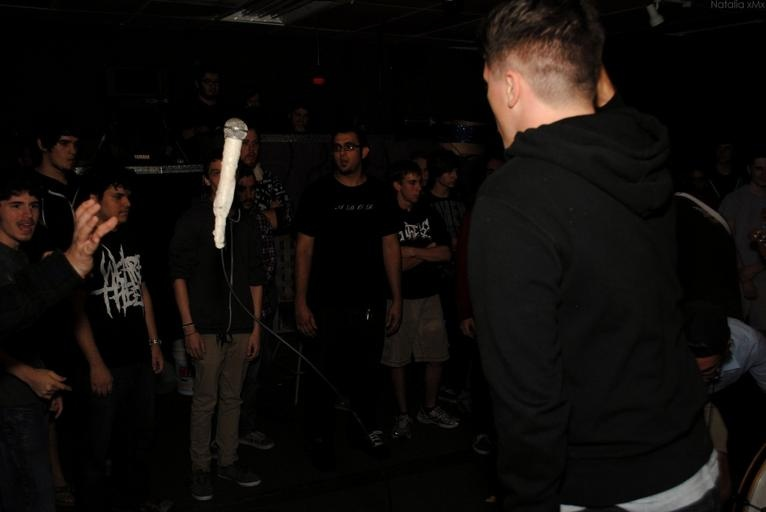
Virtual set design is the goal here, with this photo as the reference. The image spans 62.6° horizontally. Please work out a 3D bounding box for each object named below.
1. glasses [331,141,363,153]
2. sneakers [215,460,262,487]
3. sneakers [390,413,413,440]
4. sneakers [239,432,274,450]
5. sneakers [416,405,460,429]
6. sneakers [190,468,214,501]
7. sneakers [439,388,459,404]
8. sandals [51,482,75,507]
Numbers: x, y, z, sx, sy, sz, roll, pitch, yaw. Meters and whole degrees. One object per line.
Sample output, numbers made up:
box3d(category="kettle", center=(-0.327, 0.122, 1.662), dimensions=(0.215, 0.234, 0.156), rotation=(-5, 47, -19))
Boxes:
box3d(category="glasses", center=(-0.311, -0.953, 5.586), dimensions=(0.251, 0.089, 0.106), rotation=(-3, 5, -3))
box3d(category="sneakers", center=(-1.230, 1.858, 5.423), dimensions=(0.443, 0.167, 0.150), rotation=(9, 7, 11))
box3d(category="sneakers", center=(0.186, 1.649, 6.160), dimensions=(0.205, 0.202, 0.244), rotation=(-3, 5, 1))
box3d(category="sneakers", center=(-1.187, 1.735, 5.905), dimensions=(0.340, 0.108, 0.128), rotation=(4, 14, 13))
box3d(category="sneakers", center=(0.570, 1.615, 6.350), dimensions=(0.454, 0.173, 0.170), rotation=(4, 17, 8))
box3d(category="sneakers", center=(-1.498, 1.880, 5.201), dimensions=(0.182, 0.218, 0.213), rotation=(-5, 6, -18))
box3d(category="sneakers", center=(0.708, 1.493, 6.720), dimensions=(0.156, 0.048, 0.204), rotation=(4, -1, -40))
box3d(category="sandals", center=(-2.554, 1.918, 5.023), dimensions=(0.245, 0.218, 0.051), rotation=(7, -43, -18))
